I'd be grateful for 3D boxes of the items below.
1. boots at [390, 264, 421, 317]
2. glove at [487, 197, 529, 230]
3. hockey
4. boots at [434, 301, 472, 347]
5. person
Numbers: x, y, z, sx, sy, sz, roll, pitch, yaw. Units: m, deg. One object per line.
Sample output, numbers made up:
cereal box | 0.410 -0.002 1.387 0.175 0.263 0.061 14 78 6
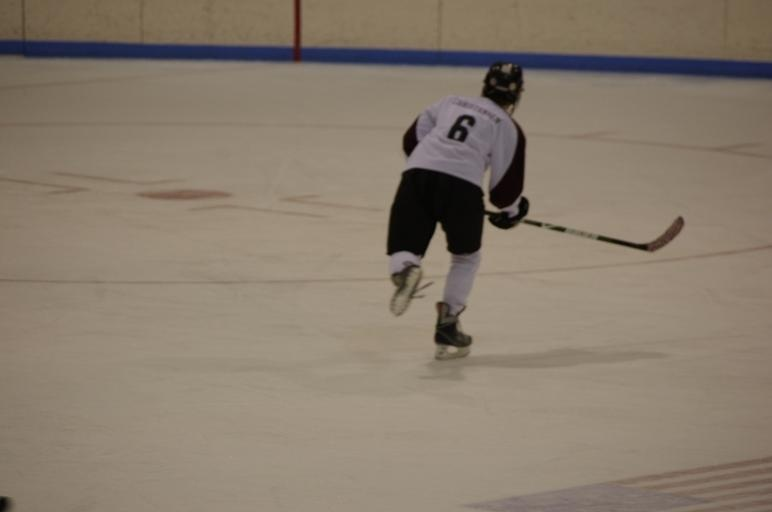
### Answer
boots | 0.121 0.186 8.943 0.159 0.300 0.162 26 -16 -36
glove | 0.764 -0.235 9.354 0.173 0.238 0.081 42 -19 29
hockey | 1.415 -0.200 9.942 0.235 0.227 1.706 9 2 -26
boots | 0.419 0.413 9.118 0.262 0.242 0.151 9 -2 -8
person | 0.445 -0.297 9.152 0.793 1.617 0.400 10 -3 -1
